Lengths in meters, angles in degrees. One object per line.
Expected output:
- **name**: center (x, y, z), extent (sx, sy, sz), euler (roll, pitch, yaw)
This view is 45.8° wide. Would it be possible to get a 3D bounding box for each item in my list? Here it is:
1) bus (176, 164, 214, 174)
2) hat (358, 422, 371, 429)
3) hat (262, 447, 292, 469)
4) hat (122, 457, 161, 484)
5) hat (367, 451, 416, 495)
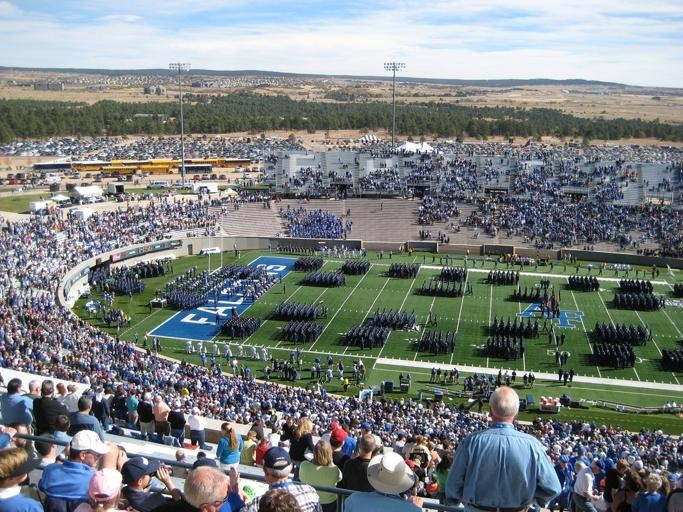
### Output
- **bus**: center (-20.593, -12.641, 114.002), extent (5.456, 1.579, 1.676), euler (1, 11, -6)
- **hat**: center (0.891, 6.349, 30.400), extent (0.320, 0.251, 0.543), euler (16, -19, 15)
- **hat**: center (-1.462, 4.691, 18.802), extent (0.600, 0.303, 0.599), euler (-2, 18, -4)
- **hat**: center (-4.730, 5.016, 19.211), extent (0.745, 0.405, 0.543), euler (-17, 27, -26)
- **hat**: center (1.217, 4.888, 18.849), extent (1.117, 0.452, 1.332), euler (9, 22, 6)
